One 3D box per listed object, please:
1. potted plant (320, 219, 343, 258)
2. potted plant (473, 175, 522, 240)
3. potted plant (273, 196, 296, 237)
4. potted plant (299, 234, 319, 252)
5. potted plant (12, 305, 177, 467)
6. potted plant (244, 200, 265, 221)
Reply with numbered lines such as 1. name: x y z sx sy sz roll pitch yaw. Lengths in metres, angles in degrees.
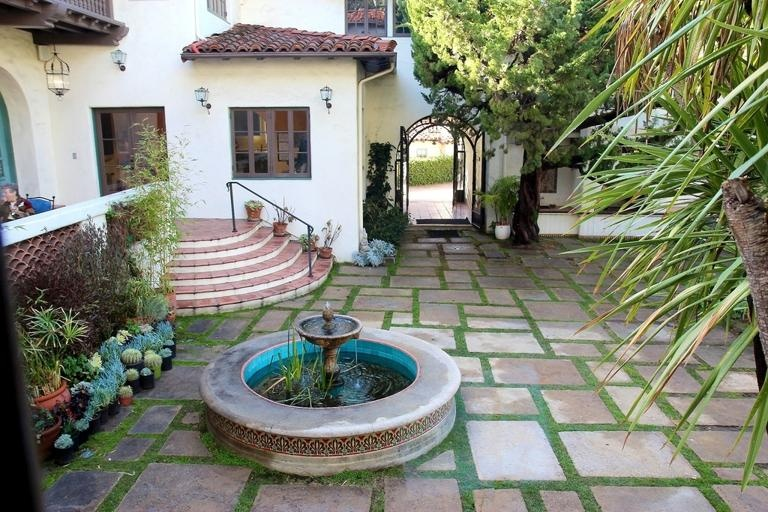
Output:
1. potted plant: -1.266 -0.401 11.307 0.548 0.870 0.325 -3 14 -7
2. potted plant: 3.369 -1.400 14.065 1.107 1.788 0.943 1 14 12
3. potted plant: -2.363 -0.900 11.098 0.499 0.866 0.381 -3 14 -7
4. potted plant: -1.733 -0.301 11.094 0.537 0.513 0.427 -1 3 -4
5. potted plant: -3.405 1.522 5.808 0.452 0.594 1.592 10 19 4
6. potted plant: -2.975 -1.027 10.969 0.462 0.465 0.455 0 5 -21
